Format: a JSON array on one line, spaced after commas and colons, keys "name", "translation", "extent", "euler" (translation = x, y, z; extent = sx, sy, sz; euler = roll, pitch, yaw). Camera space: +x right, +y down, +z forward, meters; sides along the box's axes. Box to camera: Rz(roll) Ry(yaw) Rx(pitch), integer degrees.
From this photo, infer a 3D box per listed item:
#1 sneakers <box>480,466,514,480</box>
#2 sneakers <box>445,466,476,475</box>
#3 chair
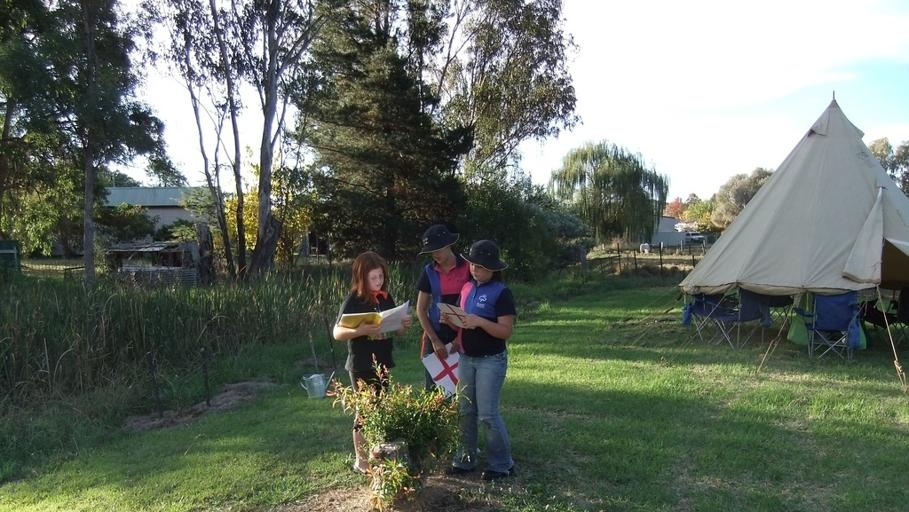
[{"name": "sneakers", "translation": [0.954, 4.827, 16.310], "extent": [0.668, 0.308, 0.268], "euler": [8, -6, -19]}, {"name": "sneakers", "translation": [0.088, 4.786, 16.396], "extent": [0.578, 0.271, 0.204], "euler": [-1, 2, 3]}, {"name": "chair", "translation": [9.381, 1.769, 21.286], "extent": [4.462, 1.816, 1.469], "euler": [4, 8, 28]}]
